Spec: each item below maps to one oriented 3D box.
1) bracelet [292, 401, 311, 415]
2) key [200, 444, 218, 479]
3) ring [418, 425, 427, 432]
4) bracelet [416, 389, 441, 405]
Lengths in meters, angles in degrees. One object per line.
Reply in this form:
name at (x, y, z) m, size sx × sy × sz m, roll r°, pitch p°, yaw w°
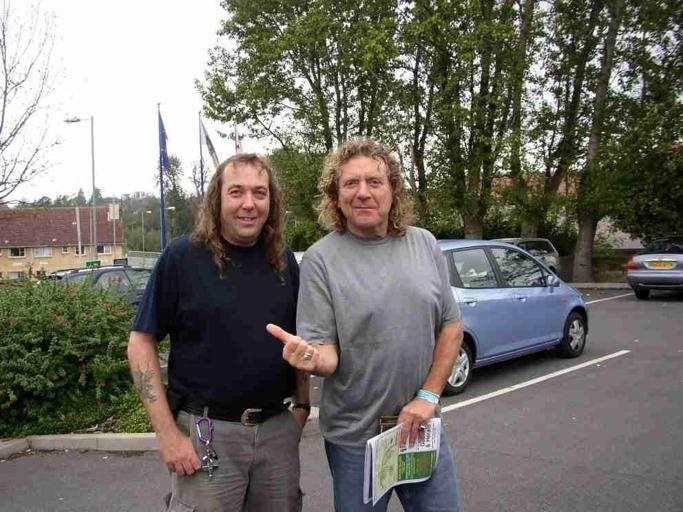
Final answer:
bracelet at (-0.229, 0.923, 3.119) m, size 0.086 × 0.048 × 0.067 m, roll 4°, pitch 3°, yaw -13°
key at (-0.685, 1.068, 2.664) m, size 0.082 × 0.156 × 0.031 m, roll -3°, pitch 4°, yaw -19°
ring at (0.425, 0.900, 2.674) m, size 0.039 × 0.043 × 0.028 m, roll 4°, pitch -5°, yaw -10°
bracelet at (0.462, 0.752, 2.724) m, size 0.088 × 0.052 × 0.094 m, roll 9°, pitch -24°, yaw 34°
